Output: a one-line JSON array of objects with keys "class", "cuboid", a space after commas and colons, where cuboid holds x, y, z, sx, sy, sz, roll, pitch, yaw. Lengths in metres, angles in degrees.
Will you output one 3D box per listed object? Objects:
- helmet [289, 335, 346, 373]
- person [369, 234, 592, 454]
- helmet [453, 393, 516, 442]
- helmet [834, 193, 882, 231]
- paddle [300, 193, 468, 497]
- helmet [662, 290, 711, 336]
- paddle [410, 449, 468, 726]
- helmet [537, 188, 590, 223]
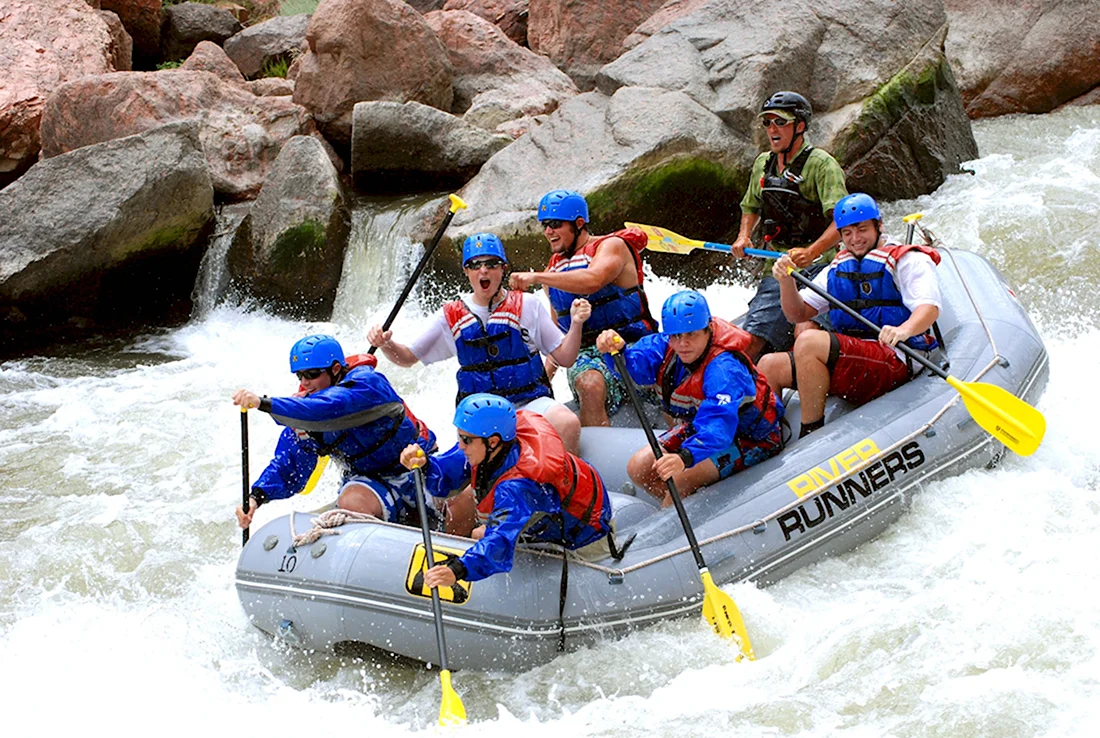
[{"class": "helmet", "cuboid": [-1.583, -0.067, 7.541, 0.300, 0.197, 0.242, -24, 21, -26]}, {"class": "person", "cuboid": [-0.476, -0.170, 8.436, 1.501, 2.173, 0.738, -10, -4, -7]}, {"class": "helmet", "cuboid": [-0.407, 0.280, 6.916, 0.321, 0.279, 0.253, -15, 14, -11]}, {"class": "helmet", "cuboid": [2.229, -1.181, 8.049, 0.216, 0.182, 0.291, -10, 31, 26]}, {"class": "paddle", "cuboid": [-1.382, -0.218, 9.365, 0.433, 3.065, 0.255, 25, 0, 25]}, {"class": "helmet", "cuboid": [0.912, -0.375, 7.411, 0.336, 0.320, 0.391, -7, -8, 0]}, {"class": "paddle", "cuboid": [-0.689, 1.375, 6.844, 0.229, 1.769, 0.129, -10, -26, 2]}, {"class": "helmet", "cuboid": [0.086, -1.224, 8.234, 0.298, 0.172, 0.243, -10, 16, -19]}]
